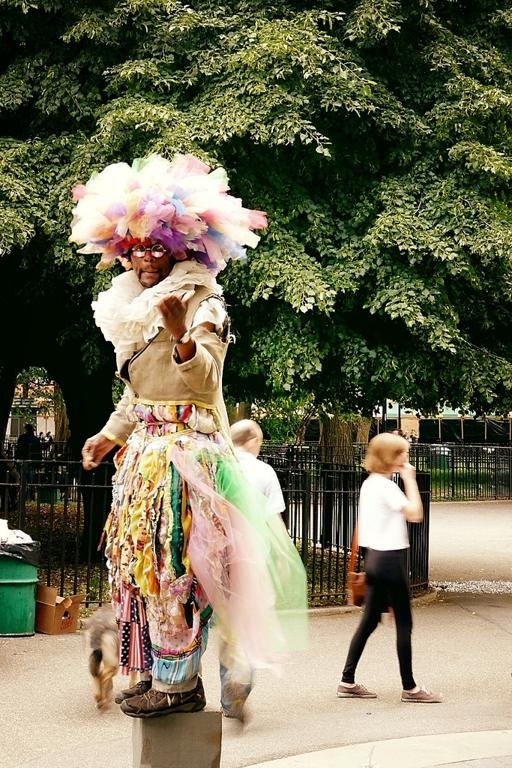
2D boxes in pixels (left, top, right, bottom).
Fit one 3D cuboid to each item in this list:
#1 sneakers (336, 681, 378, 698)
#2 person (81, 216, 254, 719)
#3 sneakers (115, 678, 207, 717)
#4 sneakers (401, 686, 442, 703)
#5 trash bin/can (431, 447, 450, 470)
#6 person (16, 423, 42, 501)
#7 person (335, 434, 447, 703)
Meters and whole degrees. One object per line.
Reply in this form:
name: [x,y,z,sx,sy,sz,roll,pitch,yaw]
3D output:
sneakers: [0.626,1.895,6.424,0.263,0.093,0.091,1,-7,0]
person: [-0.303,0.298,3.716,0.502,1.741,1.036,-1,-2,-15]
sneakers: [-0.337,1.118,3.698,0.326,0.131,0.113,3,-4,-15]
sneakers: [1.012,1.889,6.330,0.262,0.095,0.088,1,-1,1]
trash bin/can: [4.762,1.854,26.332,0.688,0.624,0.363,1,-5,-8]
person: [-4.514,1.520,20.654,0.551,1.632,0.511,0,22,-3]
person: [0.807,1.122,6.384,0.626,1.649,0.380,-3,-3,37]
